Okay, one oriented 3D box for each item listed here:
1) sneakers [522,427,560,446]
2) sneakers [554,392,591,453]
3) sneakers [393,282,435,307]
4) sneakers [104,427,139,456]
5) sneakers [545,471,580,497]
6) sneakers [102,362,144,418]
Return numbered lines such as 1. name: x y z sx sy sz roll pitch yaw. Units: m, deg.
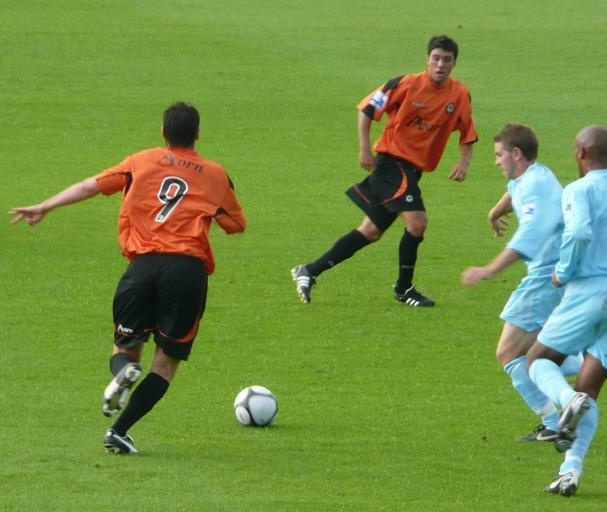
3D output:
1. sneakers: 1.798 1.364 10.653 0.313 0.107 0.099 1 -2 8
2. sneakers: 1.907 1.175 10.117 0.169 0.448 0.213 24 6 -18
3. sneakers: 1.080 0.382 13.707 0.438 0.159 0.166 6 11 20
4. sneakers: -1.343 1.404 10.631 0.323 0.207 0.150 -5 21 -41
5. sneakers: 1.895 1.652 10.170 0.113 0.296 0.123 21 50 -35
6. sneakers: -1.407 1.026 10.476 0.190 0.500 0.252 38 32 3
